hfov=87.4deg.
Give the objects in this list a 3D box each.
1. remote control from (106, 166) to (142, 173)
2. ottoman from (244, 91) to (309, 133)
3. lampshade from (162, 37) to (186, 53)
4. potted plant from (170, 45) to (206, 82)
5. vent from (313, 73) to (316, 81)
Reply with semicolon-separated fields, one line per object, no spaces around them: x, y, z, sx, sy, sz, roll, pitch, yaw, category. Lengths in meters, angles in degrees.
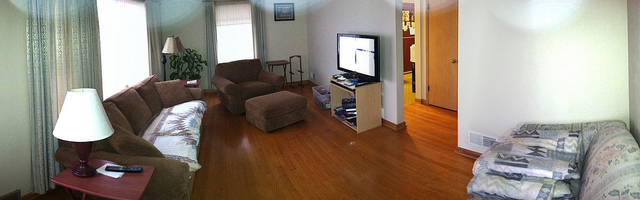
-4.979;1.747;8.483;0.991;0.078;0.242;1;9;-10;remote control
-1.464;0.271;11.217;2.371;0.762;1.580;-13;24;-35;ottoman
-5.385;-2.006;12.206;0.681;0.558;0.304;-6;17;-5;lampshade
-5.272;-1.428;13.419;1.242;1.581;1.175;-6;13;-17;potted plant
-0.198;-0.973;13.842;0.048;0.234;0.218;-20;21;-30;vent
